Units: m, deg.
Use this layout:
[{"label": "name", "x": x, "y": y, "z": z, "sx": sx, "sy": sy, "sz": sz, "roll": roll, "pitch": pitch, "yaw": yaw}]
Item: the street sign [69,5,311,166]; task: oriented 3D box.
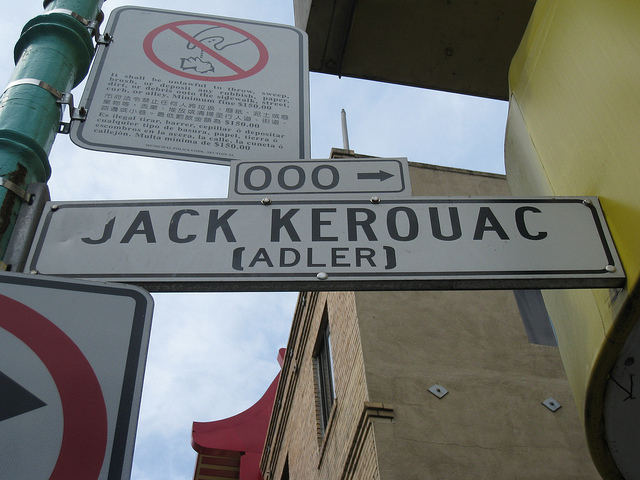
[{"label": "street sign", "x": -0.831, "y": -0.933, "z": 3.600, "sx": 1.419, "sy": 0.035, "sz": 1.590, "roll": 7, "pitch": 57, "yaw": -1}]
